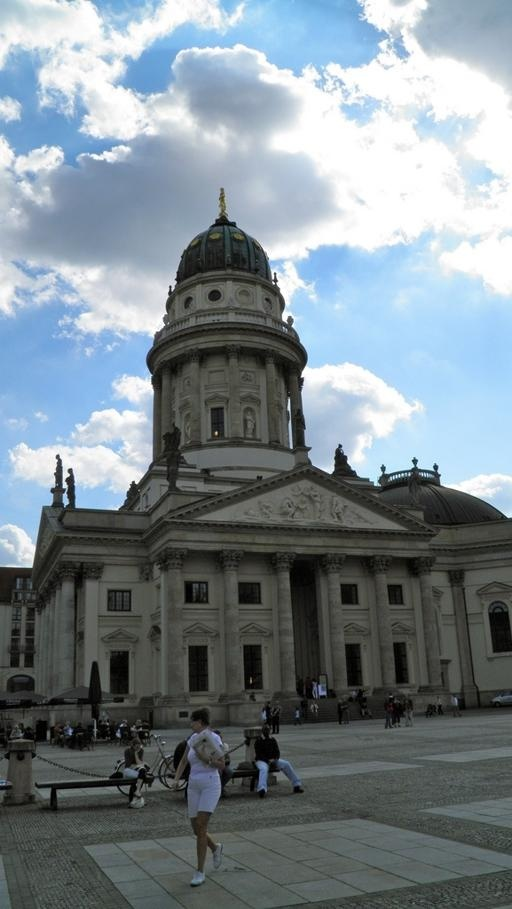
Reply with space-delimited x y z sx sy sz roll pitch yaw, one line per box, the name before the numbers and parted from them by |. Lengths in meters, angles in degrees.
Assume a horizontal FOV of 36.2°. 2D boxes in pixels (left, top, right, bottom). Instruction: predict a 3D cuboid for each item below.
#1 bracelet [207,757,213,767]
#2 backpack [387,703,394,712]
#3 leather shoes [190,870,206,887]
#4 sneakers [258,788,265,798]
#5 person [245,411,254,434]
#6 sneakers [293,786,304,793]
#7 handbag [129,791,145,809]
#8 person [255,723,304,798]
bracelet | -0.511 3.407 8.695 0.051 0.079 0.077 0 -24 5
backpack | 6.549 12.422 38.457 0.290 0.404 0.147 -2 0 -19
leather shoes | -0.623 4.533 8.377 0.090 0.107 0.246 -4 -25 8
sneakers | 0.100 6.492 14.989 0.083 0.252 0.108 1 24 3
person | -0.602 -2.686 66.633 0.935 2.351 0.479 1 -14 -15
sneakers | 0.797 6.494 15.236 0.192 0.150 0.307 -4 -14 3
handbag | -2.202 6.494 14.613 0.180 0.328 0.343 -2 -34 9
person | 0.351 6.146 15.938 0.762 1.286 1.887 -3 -14 -2
